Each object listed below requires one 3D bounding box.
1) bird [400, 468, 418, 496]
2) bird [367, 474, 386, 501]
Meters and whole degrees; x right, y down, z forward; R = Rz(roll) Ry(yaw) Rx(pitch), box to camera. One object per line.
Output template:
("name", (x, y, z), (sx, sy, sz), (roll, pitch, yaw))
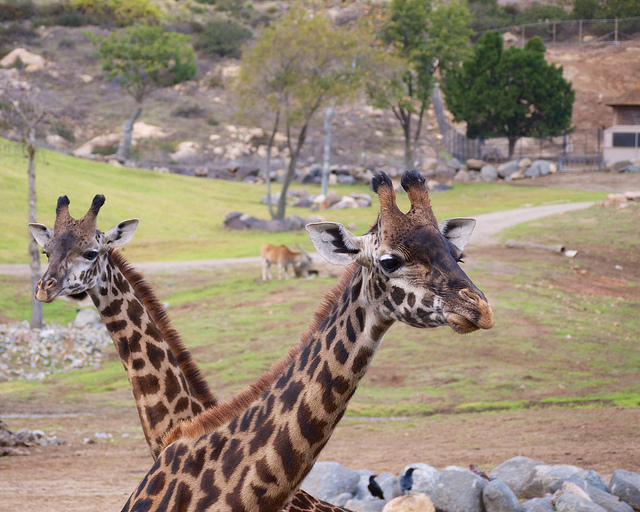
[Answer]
("bird", (1.153, 2.972, 20.231), (0.202, 0.321, 0.194), (1, 5, 28))
("bird", (0.726, 3.082, 20.337), (0.154, 0.296, 0.294), (-3, 20, -41))
